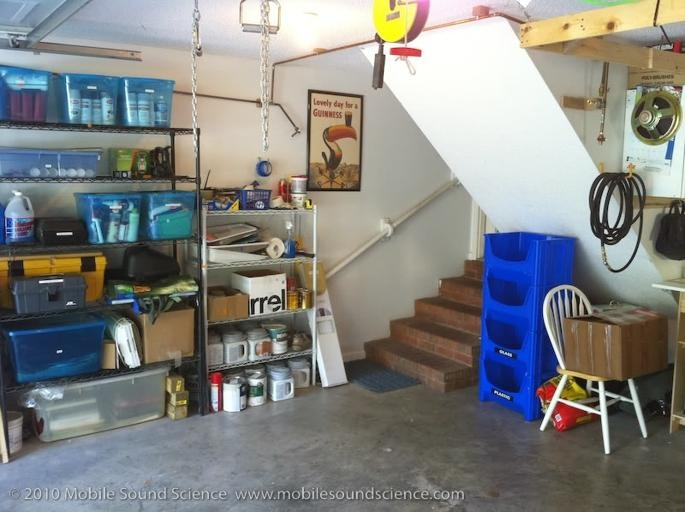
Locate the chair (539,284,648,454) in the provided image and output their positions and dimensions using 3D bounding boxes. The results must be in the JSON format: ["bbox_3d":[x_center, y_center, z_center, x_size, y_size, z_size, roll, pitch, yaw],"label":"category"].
[{"bbox_3d":[2.032,0.851,4.373,0.789,1.148,0.834,-2,3,6],"label":"chair"}]

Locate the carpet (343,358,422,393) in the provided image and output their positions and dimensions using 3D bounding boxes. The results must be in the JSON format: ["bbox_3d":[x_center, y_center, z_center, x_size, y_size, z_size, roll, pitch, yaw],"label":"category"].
[{"bbox_3d":[0.290,1.229,5.470,0.569,0.059,0.877,-10,16,-38],"label":"carpet"}]

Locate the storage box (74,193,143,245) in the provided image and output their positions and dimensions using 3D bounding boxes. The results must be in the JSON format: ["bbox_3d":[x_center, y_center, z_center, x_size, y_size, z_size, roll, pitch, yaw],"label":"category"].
[{"bbox_3d":[-2.009,-0.349,4.390,0.614,0.438,0.513,8,9,37],"label":"storage box"}]

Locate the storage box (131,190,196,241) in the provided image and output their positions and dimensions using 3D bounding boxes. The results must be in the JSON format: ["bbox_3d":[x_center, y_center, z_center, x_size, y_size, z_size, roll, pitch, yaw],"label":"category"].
[{"bbox_3d":[-1.497,-0.354,4.463,0.433,0.392,0.424,-3,8,-32],"label":"storage box"}]

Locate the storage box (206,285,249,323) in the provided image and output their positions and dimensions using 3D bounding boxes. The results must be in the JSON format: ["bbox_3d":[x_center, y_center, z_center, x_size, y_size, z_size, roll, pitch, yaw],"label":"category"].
[{"bbox_3d":[-1.062,0.440,5.046,0.384,0.219,0.647,-2,6,-20],"label":"storage box"}]

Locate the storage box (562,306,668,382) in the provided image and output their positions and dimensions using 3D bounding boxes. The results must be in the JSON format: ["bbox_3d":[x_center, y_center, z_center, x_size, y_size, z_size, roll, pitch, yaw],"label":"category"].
[{"bbox_3d":[2.247,0.700,4.413,0.751,0.470,0.540,-3,2,-36],"label":"storage box"}]

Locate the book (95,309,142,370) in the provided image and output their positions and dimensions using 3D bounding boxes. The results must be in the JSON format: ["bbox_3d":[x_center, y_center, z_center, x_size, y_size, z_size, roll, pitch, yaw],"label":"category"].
[{"bbox_3d":[-1.761,0.679,4.272,0.167,0.444,0.338,-18,22,-38],"label":"book"}]

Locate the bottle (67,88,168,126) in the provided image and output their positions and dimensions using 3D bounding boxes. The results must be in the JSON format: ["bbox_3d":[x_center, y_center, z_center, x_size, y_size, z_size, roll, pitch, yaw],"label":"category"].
[{"bbox_3d":[-1.748,-1.170,4.215,0.548,0.256,0.343,-1,2,-28],"label":"bottle"}]

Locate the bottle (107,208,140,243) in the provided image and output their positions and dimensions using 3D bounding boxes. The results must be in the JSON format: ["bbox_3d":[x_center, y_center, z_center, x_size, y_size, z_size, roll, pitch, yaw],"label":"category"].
[{"bbox_3d":[-1.758,-0.248,4.238,0.251,0.312,0.176,5,5,-32],"label":"bottle"}]

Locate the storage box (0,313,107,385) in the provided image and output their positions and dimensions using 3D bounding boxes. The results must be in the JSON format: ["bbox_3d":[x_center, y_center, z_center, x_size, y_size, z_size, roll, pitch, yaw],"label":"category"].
[{"bbox_3d":[-2.274,0.657,4.209,0.720,0.422,0.471,-5,10,-32],"label":"storage box"}]

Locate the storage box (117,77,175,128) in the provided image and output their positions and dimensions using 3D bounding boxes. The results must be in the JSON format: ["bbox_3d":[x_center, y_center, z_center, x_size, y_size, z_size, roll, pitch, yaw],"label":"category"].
[{"bbox_3d":[-1.559,-1.215,4.327,0.440,0.393,0.426,0,11,-12],"label":"storage box"}]

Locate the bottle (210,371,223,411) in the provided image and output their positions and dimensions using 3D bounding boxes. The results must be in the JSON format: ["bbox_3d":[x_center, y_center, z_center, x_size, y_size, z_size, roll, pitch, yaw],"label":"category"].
[{"bbox_3d":[-1.121,1.194,4.726,0.118,0.325,0.139,-2,13,-12],"label":"bottle"}]

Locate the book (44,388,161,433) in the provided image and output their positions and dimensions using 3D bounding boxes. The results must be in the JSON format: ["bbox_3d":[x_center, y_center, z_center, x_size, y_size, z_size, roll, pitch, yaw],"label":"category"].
[{"bbox_3d":[-2.002,1.219,4.359,0.535,0.189,0.346,-5,5,-33],"label":"book"}]

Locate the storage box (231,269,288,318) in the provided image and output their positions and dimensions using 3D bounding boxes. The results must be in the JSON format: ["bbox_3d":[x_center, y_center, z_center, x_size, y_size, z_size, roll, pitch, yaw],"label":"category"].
[{"bbox_3d":[-0.855,0.394,5.108,0.487,0.381,0.472,4,-18,-36],"label":"storage box"}]

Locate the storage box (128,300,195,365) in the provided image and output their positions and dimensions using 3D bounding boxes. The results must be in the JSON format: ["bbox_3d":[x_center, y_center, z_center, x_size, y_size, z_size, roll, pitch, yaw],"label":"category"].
[{"bbox_3d":[-1.545,0.626,4.601,0.470,0.437,0.455,-4,6,-36],"label":"storage box"}]

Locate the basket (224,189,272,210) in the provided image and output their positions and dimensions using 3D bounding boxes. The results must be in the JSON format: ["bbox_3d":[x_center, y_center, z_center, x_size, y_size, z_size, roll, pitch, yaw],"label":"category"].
[{"bbox_3d":[-0.841,-0.513,4.887,0.275,0.124,0.190,-2,5,-28],"label":"basket"}]

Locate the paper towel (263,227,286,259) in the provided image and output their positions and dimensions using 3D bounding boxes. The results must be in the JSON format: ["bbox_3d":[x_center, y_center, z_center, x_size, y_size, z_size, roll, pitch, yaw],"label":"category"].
[{"bbox_3d":[-0.637,-0.097,5.075,0.232,0.236,0.285,15,6,-25],"label":"paper towel"}]

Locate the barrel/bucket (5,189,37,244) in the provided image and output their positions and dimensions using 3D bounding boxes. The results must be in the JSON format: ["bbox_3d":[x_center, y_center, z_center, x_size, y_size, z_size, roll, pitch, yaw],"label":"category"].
[{"bbox_3d":[-2.446,-0.292,4.031,0.209,0.380,0.171,-8,15,-31],"label":"barrel/bucket"}]

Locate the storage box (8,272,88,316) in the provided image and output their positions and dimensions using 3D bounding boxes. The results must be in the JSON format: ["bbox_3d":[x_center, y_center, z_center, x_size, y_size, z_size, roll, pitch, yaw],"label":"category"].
[{"bbox_3d":[-2.156,0.283,3.919,0.453,0.261,0.292,-4,9,-31],"label":"storage box"}]

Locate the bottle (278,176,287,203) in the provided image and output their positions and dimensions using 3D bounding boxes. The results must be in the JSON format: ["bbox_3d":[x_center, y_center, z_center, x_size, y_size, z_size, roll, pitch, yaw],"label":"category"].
[{"bbox_3d":[-0.596,-0.649,5.280,0.093,0.222,0.156,-3,14,-16],"label":"bottle"}]

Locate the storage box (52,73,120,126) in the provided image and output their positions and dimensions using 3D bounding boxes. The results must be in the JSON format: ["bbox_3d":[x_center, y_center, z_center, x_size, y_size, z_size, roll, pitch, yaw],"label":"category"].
[{"bbox_3d":[-1.992,-1.166,4.315,0.493,0.398,0.480,-4,1,-27],"label":"storage box"}]

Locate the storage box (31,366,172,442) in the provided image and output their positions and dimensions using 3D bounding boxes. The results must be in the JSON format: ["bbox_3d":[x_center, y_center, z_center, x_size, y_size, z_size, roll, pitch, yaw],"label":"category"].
[{"bbox_3d":[-2.120,1.292,4.564,0.792,0.428,1.158,-23,-16,37],"label":"storage box"}]
